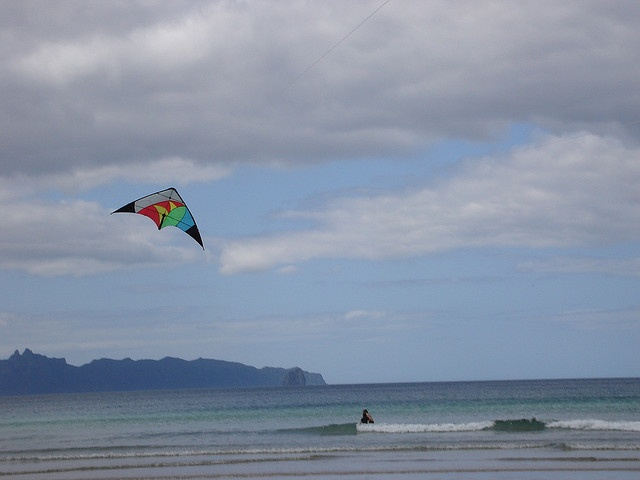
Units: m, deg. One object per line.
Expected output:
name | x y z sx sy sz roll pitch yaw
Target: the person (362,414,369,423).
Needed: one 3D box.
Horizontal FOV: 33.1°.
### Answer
person | 4.210 16.856 102.467 0.720 0.940 0.931 -1 2 -6
